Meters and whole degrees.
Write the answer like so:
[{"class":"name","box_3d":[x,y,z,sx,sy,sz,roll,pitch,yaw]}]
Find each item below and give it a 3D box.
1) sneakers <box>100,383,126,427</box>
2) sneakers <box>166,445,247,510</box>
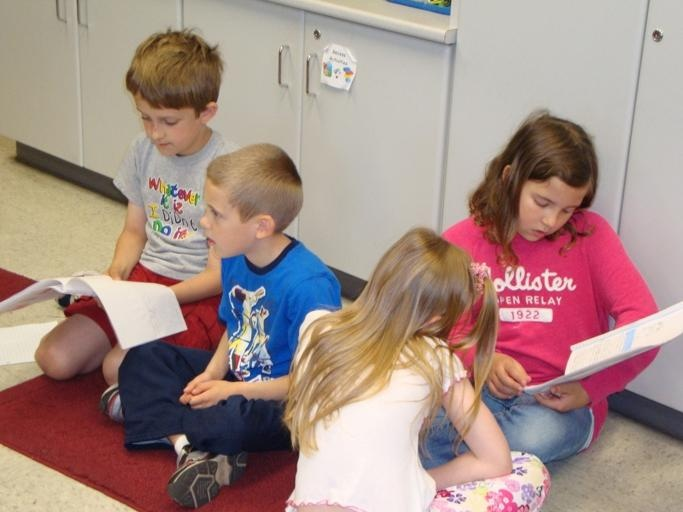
[{"class":"sneakers","box_3d":[-0.664,0.432,1.755,0.085,0.127,0.051,-6,2,30]},{"class":"sneakers","box_3d":[-0.351,0.533,1.530,0.101,0.094,0.219,16,22,39]}]
